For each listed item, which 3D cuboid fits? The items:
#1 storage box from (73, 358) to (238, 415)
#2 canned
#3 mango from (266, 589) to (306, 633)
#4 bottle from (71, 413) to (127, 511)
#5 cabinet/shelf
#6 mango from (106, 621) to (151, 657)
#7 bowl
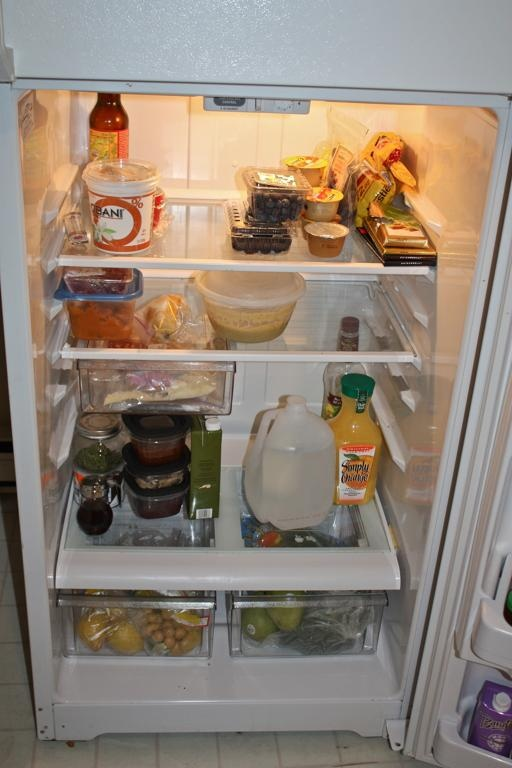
[{"bbox_3d":[-0.195,0.011,1.151,0.193,0.101,0.145,1,24,-6],"label":"storage box"},{"bbox_3d":[-0.206,-0.285,0.978,0.136,0.130,0.146,11,41,3],"label":"canned"},{"bbox_3d":[0.069,0.508,1.271,0.069,0.103,0.083,-8,57,16],"label":"mango"},{"bbox_3d":[-0.357,0.173,1.280,0.118,0.219,0.119,8,31,-5],"label":"bottle"},{"bbox_3d":[-0.037,0.026,1.277,0.784,0.900,0.609,0,11,-11],"label":"cabinet/shelf"},{"bbox_3d":[-0.297,0.571,1.335,0.079,0.082,0.083,3,23,-24],"label":"mango"},{"bbox_3d":[-0.013,-0.149,1.124,0.210,0.143,0.163,1,11,-6],"label":"bowl"}]
